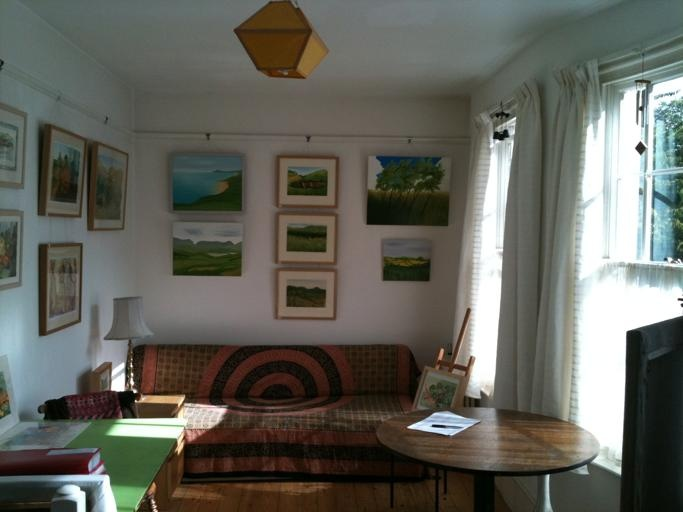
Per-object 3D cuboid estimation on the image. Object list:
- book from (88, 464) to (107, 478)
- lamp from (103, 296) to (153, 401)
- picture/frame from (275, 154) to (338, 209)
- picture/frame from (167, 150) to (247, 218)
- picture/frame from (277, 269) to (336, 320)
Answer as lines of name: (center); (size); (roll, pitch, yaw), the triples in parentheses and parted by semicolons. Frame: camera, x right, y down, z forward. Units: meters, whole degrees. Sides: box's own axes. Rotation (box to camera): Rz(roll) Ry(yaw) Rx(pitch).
book: (-1.110, 0.987, 2.564); (0.069, 0.069, 0.081); (-2, -5, 9)
lamp: (-1.742, 0.733, 4.525); (0.361, 0.811, 0.710); (-1, 4, -31)
picture/frame: (-0.335, -0.700, 5.164); (0.450, 0.404, 0.037); (1, 1, -2)
picture/frame: (-1.251, -0.686, 5.131); (0.572, 0.491, 0.040); (1, 5, 1)
picture/frame: (-0.352, 0.342, 5.205); (0.434, 0.392, 0.034); (0, -2, -2)
